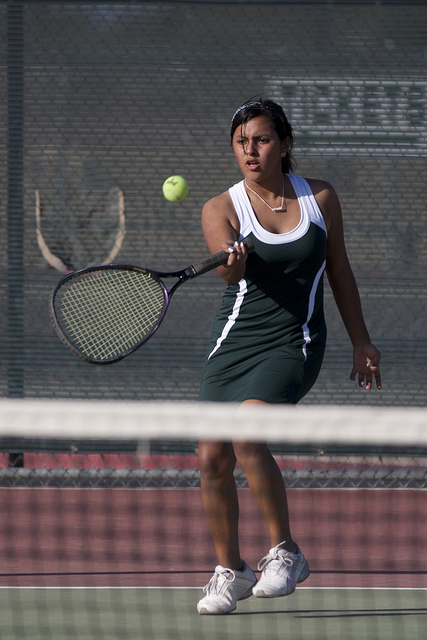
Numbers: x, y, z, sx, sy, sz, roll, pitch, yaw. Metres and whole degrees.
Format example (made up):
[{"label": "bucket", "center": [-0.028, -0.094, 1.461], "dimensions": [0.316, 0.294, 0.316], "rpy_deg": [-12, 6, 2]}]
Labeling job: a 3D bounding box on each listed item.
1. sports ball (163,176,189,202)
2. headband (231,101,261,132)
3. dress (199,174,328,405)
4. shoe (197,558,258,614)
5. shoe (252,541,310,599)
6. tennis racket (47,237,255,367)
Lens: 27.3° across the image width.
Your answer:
[{"label": "sports ball", "center": [-0.165, -0.589, 3.959], "dimensions": [0.117, 0.115, 0.102], "rpy_deg": [-1, 9, -2]}, {"label": "headband", "center": [0.100, -0.638, 2.751], "dimensions": [0.097, 0.080, 0.025], "rpy_deg": [-28, 40, -29]}, {"label": "dress", "center": [0.182, -0.093, 2.626], "dimensions": [0.407, 0.677, 0.310], "rpy_deg": [-10, 13, -43]}, {"label": "shoe", "center": [0.063, 0.801, 2.687], "dimensions": [0.101, 0.100, 0.239], "rpy_deg": [-29, -4, 41]}, {"label": "shoe", "center": [0.206, 0.749, 2.621], "dimensions": [0.174, 0.204, 0.115], "rpy_deg": [-1, 10, -2]}, {"label": "tennis racket", "center": [-0.224, -0.045, 3.189], "dimensions": [0.777, 0.245, 0.046], "rpy_deg": [-18, -24, -5]}]
